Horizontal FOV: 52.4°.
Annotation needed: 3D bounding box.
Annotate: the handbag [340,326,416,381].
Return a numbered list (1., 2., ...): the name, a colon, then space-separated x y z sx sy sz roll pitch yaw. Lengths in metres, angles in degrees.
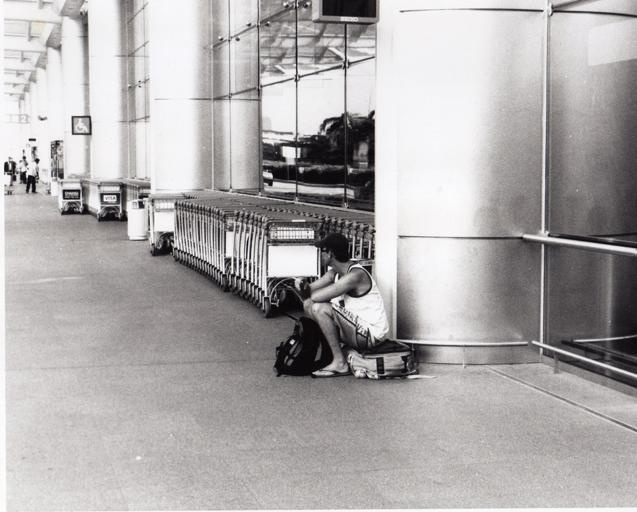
1. handbag: 0.608 0.979 6.160 0.671 0.323 0.289 0 6 3

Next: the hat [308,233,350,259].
1. hat: 0.143 -0.098 6.175 0.282 0.159 0.207 37 27 27

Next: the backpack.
1. backpack: -0.163 0.886 6.235 0.578 0.608 0.421 0 -1 -4

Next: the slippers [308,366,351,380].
1. slippers: 0.119 1.101 6.139 0.314 0.080 0.129 4 -9 -15
